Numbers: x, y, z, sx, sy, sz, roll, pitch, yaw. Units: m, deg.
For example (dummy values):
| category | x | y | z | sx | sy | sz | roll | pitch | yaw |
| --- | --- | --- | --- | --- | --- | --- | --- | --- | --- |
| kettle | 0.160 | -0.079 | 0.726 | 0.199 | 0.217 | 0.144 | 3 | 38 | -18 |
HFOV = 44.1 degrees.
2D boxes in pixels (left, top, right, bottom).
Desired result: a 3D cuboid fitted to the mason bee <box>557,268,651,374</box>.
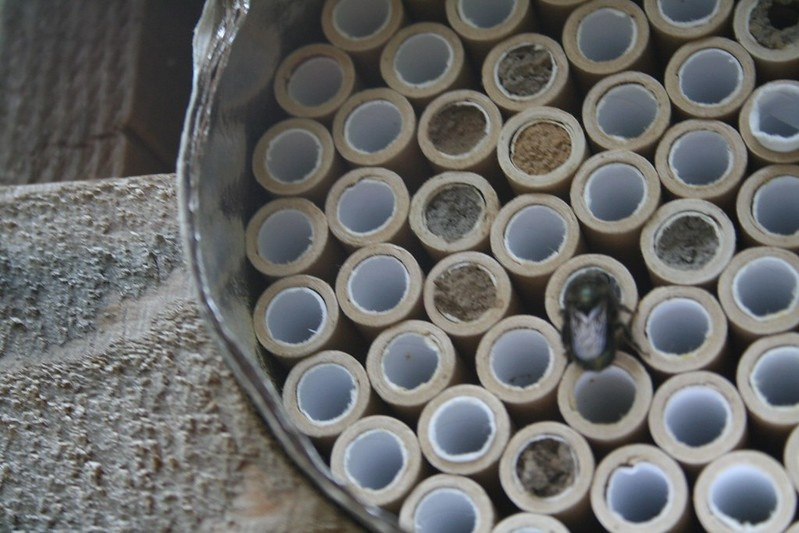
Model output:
| category | x | y | z | sx | sy | sz | roll | pitch | yaw |
| --- | --- | --- | --- | --- | --- | --- | --- | --- | --- |
| mason bee | 0.533 | 0.158 | 2.612 | 0.172 | 0.200 | 0.196 | -5 | 36 | -24 |
